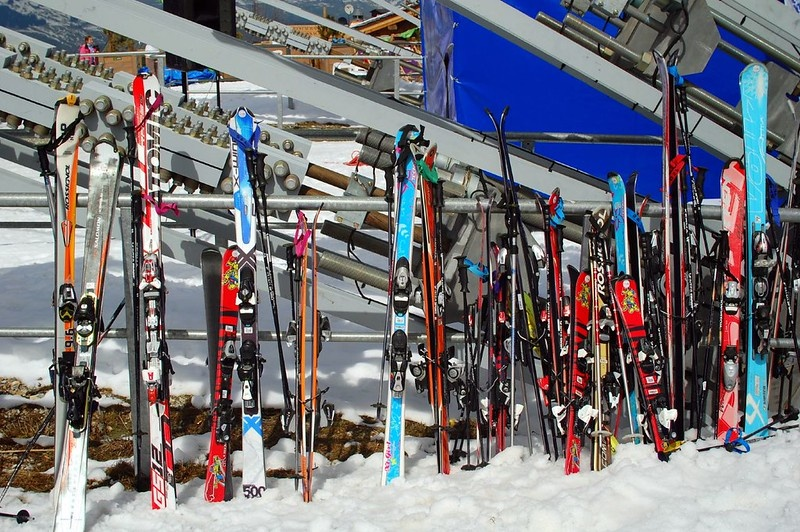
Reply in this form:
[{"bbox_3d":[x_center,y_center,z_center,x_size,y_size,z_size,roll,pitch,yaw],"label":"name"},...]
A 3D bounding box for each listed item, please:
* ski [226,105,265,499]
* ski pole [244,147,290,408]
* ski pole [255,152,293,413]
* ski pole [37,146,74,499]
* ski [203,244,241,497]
[{"bbox_3d":[-0.964,0.208,6.918,0.236,2.502,0.260,-3,-1,3],"label":"ski"},{"bbox_3d":[-0.915,0.062,7.314,0.159,1.897,0.238,-8,7,-9],"label":"ski pole"},{"bbox_3d":[-0.892,0.109,7.523,0.136,1.892,0.231,-8,7,-4],"label":"ski pole"},{"bbox_3d":[-2.134,0.338,6.784,0.202,2.137,0.234,-3,-3,-8],"label":"ski pole"},{"bbox_3d":[-1.132,0.652,6.880,0.200,1.805,0.180,-4,-1,2],"label":"ski"}]
